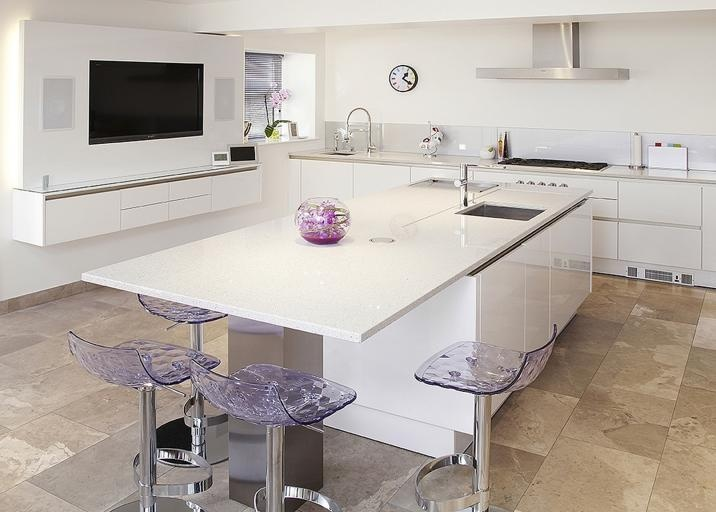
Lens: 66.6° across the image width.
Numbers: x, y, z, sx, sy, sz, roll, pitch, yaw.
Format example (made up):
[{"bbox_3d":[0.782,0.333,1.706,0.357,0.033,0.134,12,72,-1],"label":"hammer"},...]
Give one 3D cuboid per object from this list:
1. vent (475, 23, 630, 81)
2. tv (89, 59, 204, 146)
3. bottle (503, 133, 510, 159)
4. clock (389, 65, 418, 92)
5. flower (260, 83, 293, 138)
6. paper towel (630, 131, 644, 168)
[{"bbox_3d":[2.207,-2.266,6.020,1.768,0.555,0.454,16,27,36],"label":"vent"},{"bbox_3d":[-2.126,-1.519,5.315,0.043,0.581,1.154,13,16,33],"label":"tv"},{"bbox_3d":[1.770,-1.328,6.465,0.084,0.294,0.088,-1,15,0],"label":"bottle"},{"bbox_3d":[0.584,-2.277,6.923,0.414,0.347,0.066,5,12,30],"label":"clock"},{"bbox_3d":[-1.091,-1.918,7.240,0.313,0.669,0.682,4,15,20],"label":"flower"},{"bbox_3d":[2.993,-1.117,5.795,0.110,0.365,0.109,-8,14,-3],"label":"paper towel"}]
